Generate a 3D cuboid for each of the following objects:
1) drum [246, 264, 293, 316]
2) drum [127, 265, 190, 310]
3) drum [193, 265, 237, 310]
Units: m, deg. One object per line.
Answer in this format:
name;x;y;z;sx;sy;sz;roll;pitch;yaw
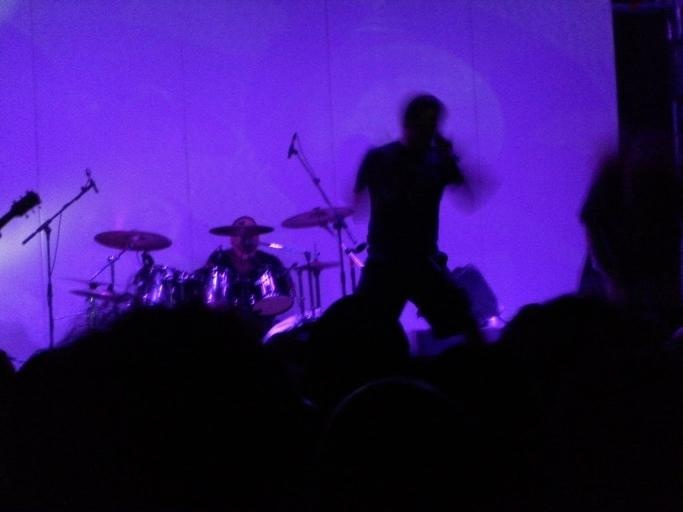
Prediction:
drum;-0.565;0.284;5.858;0.343;0.375;0.372;-14;10;-5
drum;-1.384;0.237;5.653;0.531;0.443;0.220;-4;-25;41
drum;-0.931;0.197;5.523;0.291;0.442;0.151;-1;-14;-24
